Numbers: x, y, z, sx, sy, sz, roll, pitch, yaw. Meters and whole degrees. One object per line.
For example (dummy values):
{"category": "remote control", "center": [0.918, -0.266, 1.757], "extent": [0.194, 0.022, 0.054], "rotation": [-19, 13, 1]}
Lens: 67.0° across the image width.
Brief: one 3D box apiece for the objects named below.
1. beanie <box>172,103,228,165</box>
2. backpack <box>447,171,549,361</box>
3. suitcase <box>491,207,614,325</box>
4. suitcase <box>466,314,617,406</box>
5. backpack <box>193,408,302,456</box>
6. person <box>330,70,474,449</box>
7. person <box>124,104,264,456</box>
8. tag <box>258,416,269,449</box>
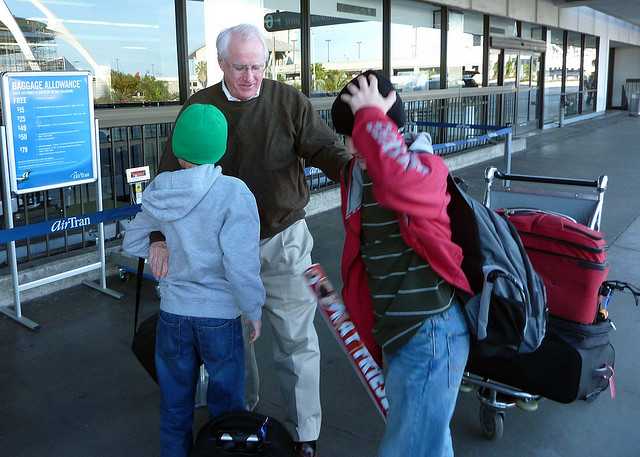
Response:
{"category": "beanie", "center": [-0.609, -0.475, 2.483], "extent": [0.245, 0.304, 0.249], "rotation": [-6, 26, -33]}
{"category": "backpack", "center": [0.763, 0.176, 2.203], "extent": [0.294, 0.867, 0.516], "rotation": [-28, -9, 15]}
{"category": "suitcase", "center": [1.582, 0.185, 3.212], "extent": [0.473, 0.783, 0.850], "rotation": [-29, 25, -27]}
{"category": "suitcase", "center": [1.325, 0.744, 3.026], "extent": [0.833, 0.411, 0.498], "rotation": [10, 10, 41]}
{"category": "backpack", "center": [-0.350, 1.212, 2.744], "extent": [0.581, 0.576, 0.232], "rotation": [3, 54, 4]}
{"category": "person", "center": [0.332, 0.169, 2.180], "extent": [0.656, 1.662, 0.436], "rotation": [13, 23, 40]}
{"category": "person", "center": [-0.639, 0.291, 2.536], "extent": [0.678, 1.788, 0.437], "rotation": [-5, 17, -8]}
{"category": "tag", "center": [-0.285, 1.054, 2.502], "extent": [0.028, 0.031, 0.126], "rotation": [-22, 22, 20]}
